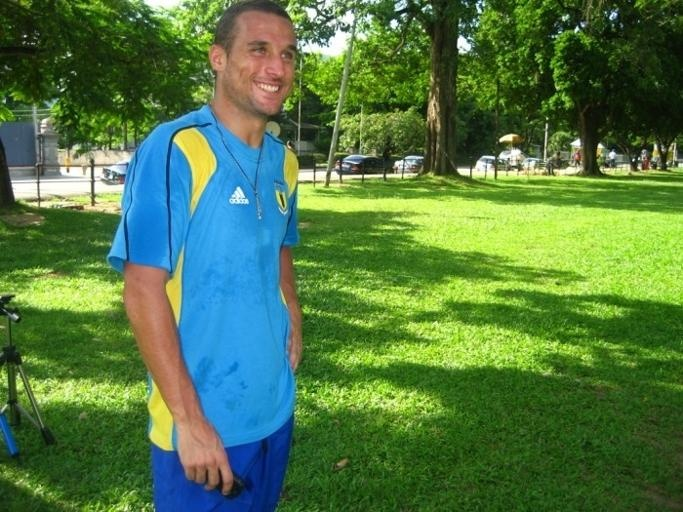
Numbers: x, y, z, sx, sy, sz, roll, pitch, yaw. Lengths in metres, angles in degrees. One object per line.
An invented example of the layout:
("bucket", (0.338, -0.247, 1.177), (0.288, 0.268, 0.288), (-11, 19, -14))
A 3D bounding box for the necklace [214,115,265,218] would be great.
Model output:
("necklace", (-0.489, -0.430, 3.580), (0.154, 0.653, 0.023), (-4, -26, -20))

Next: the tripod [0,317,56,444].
("tripod", (-2.872, 0.967, 5.967), (0.344, 1.053, 1.172), (-8, 16, -34))

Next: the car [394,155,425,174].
("car", (4.839, -6.568, 48.163), (1.631, 1.368, 3.591), (4, 8, 20))

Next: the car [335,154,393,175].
("car", (1.568, -5.736, 43.024), (2.961, 1.144, 6.358), (3, 14, 10))
